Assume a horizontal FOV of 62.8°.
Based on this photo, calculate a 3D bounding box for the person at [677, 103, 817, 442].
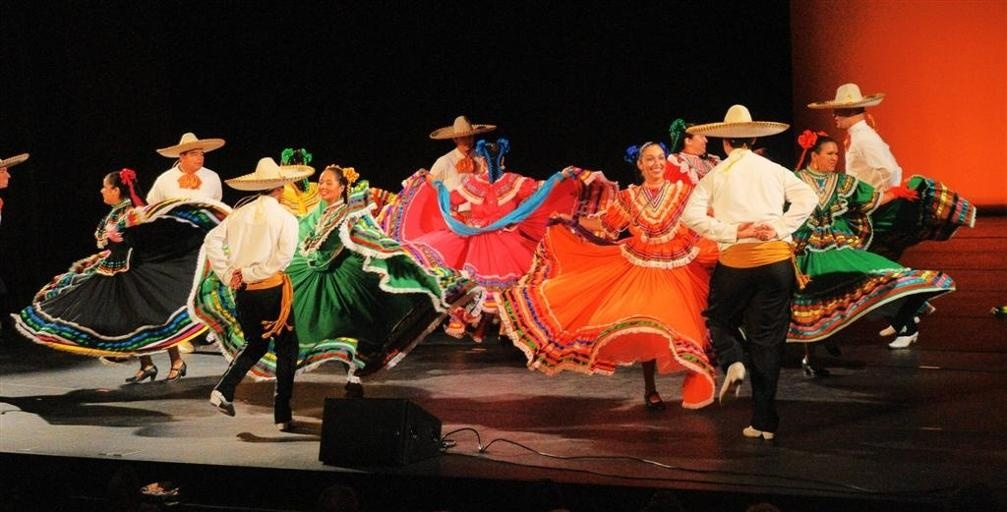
[{"bbox_3d":[2.176,0.137,7.262,1.000,2.863,1.082,-7,18,-13],"label":"person"}]

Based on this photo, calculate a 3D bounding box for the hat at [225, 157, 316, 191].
[{"bbox_3d":[-2.124,-0.743,7.747,0.598,0.147,0.531,-4,12,12],"label":"hat"}]

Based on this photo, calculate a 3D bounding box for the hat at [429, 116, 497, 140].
[{"bbox_3d":[-0.500,-1.704,10.970,0.722,0.128,0.644,-9,9,-5],"label":"hat"}]

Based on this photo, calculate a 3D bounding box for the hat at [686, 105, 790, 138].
[{"bbox_3d":[2.147,-1.239,7.557,0.927,0.181,0.747,-2,8,-3],"label":"hat"}]

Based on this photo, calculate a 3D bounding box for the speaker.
[{"bbox_3d":[-1.056,1.532,7.262,1.050,0.362,0.814,0,-15,1],"label":"speaker"}]

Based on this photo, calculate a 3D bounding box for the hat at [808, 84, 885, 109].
[{"bbox_3d":[4.230,-2.008,10.332,0.973,0.202,0.824,-2,3,27],"label":"hat"}]

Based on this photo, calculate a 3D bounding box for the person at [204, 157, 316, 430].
[{"bbox_3d":[-2.238,0.351,7.549,0.907,2.436,0.903,-4,17,-4],"label":"person"}]
